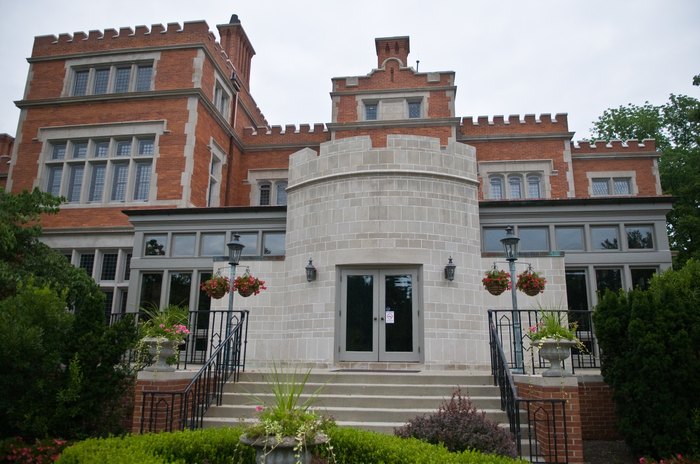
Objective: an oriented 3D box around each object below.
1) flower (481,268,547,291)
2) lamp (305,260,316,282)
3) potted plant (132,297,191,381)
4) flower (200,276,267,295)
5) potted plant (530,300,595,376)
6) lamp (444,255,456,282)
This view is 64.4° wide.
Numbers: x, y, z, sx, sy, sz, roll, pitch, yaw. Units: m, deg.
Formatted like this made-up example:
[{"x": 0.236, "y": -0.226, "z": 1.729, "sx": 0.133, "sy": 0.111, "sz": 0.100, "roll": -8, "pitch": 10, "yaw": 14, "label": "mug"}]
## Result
[{"x": 4.672, "y": 1.430, "z": 16.105, "sx": 1.220, "sy": 0.578, "sz": 0.790, "roll": 3, "pitch": -17, "yaw": 1, "label": "flower"}, {"x": -1.243, "y": 1.220, "z": 17.741, "sx": 0.347, "sy": 0.708, "sz": 0.315, "roll": -3, "pitch": -16, "yaw": 15, "label": "lamp"}, {"x": -4.977, "y": 3.026, "z": 15.155, "sx": 1.898, "sy": 2.358, "sz": 1.738, "roll": 2, "pitch": -17, "yaw": -6, "label": "potted plant"}, {"x": -3.602, "y": 1.660, "z": 17.021, "sx": 1.598, "sy": 0.511, "sz": 0.785, "roll": 2, "pitch": -10, "yaw": -7, "label": "flower"}, {"x": 5.975, "y": 3.074, "z": 15.788, "sx": 2.003, "sy": 1.551, "sz": 1.963, "roll": 2, "pitch": -12, "yaw": -1, "label": "potted plant"}, {"x": 3.157, "y": 1.121, "z": 17.508, "sx": 0.416, "sy": 0.838, "sz": 0.264, "roll": 2, "pitch": -15, "yaw": -4, "label": "lamp"}]
